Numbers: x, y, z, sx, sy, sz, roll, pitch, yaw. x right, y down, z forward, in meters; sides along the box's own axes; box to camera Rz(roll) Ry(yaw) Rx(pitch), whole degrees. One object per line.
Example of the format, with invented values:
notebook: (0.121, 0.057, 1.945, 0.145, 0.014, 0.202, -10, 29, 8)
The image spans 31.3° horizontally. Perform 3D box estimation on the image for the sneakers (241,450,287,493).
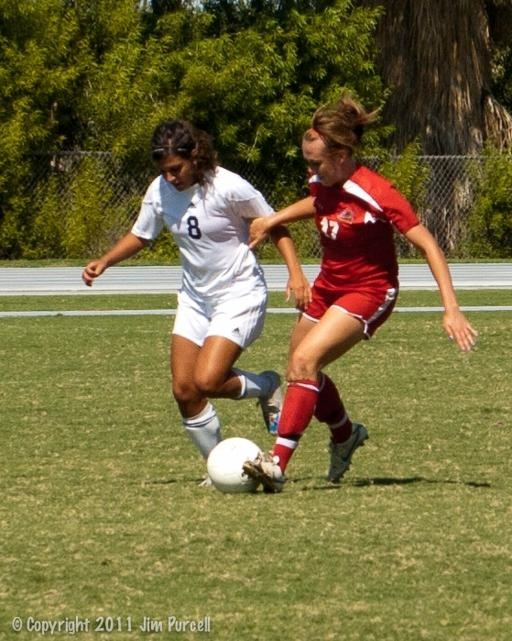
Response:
sneakers: (0.040, 0.692, 4.183, 0.224, 0.126, 0.135, 35, 44, 5)

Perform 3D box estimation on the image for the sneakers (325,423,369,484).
sneakers: (0.465, 0.676, 4.694, 0.185, 0.339, 0.117, 28, -17, -7)

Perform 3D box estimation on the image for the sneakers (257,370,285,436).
sneakers: (0.067, 0.442, 4.908, 0.134, 0.335, 0.159, 5, 30, 29)

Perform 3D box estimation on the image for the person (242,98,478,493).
person: (0.408, -0.087, 4.292, 0.872, 1.879, 1.213, -2, 8, -14)
